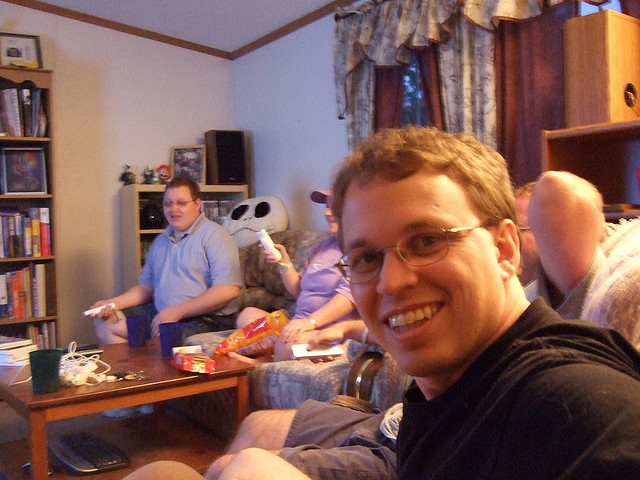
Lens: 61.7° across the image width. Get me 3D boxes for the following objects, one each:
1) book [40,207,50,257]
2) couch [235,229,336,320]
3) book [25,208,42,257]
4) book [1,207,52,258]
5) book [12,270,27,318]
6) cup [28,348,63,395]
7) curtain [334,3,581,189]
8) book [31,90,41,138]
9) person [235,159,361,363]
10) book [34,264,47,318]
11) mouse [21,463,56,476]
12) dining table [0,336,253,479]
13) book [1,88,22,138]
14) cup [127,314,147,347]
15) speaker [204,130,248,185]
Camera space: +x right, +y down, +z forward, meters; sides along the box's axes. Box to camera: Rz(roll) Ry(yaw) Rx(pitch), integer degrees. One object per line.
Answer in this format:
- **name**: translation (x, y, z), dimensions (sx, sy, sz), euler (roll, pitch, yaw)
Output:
- **book**: translation (-2.049, -0.059, 4.012), dimensions (0.056, 0.430, 0.327), euler (-3, -1, -26)
- **couch**: translation (-0.256, 0.205, 3.743), dimensions (0.472, 0.658, 0.858), euler (2, -2, -33)
- **book**: translation (-2.120, -0.054, 3.981), dimensions (0.116, 0.328, 0.329), euler (-4, 1, -27)
- **book**: translation (-2.176, -0.050, 3.990), dimensions (0.360, 0.349, 0.131), euler (-10, 8, -26)
- **book**: translation (-2.186, 0.409, 3.954), dimensions (0.059, 0.266, 0.255), euler (-5, 14, -20)
- **cup**: translation (-1.020, 0.480, 1.998), dimensions (0.135, 0.165, 0.108), euler (-2, 8, 28)
- **curtain**: translation (0.791, -1.002, 3.416), dimensions (0.334, 1.347, 1.589), euler (-12, 9, -41)
- **book**: translation (-2.073, -0.923, 3.931), dimensions (0.078, 0.416, 0.303), euler (0, 6, -27)
- **person**: translation (-0.006, 0.194, 2.748), dimensions (0.432, 0.843, 0.468), euler (-15, 19, -14)
- **book**: translation (-2.086, 0.393, 4.016), dimensions (0.062, 0.589, 0.375), euler (-3, 2, -30)
- **mouse**: translation (-1.069, 0.888, 2.081), dimensions (0.104, 0.031, 0.113), euler (-1, -6, 4)
- **dining table**: translation (-0.826, 0.595, 2.327), dimensions (0.917, 0.491, 0.592), euler (-11, 9, -33)
- **book**: translation (-2.222, -0.913, 3.879), dimensions (0.065, 0.283, 0.281), euler (-6, -1, -38)
- **cup**: translation (-0.901, 0.440, 2.706), dimensions (0.087, 0.141, 0.094), euler (10, 32, -7)
- **speaker**: translation (-0.873, -0.768, 4.976), dimensions (0.406, 0.516, 0.303), euler (-7, 7, -6)
